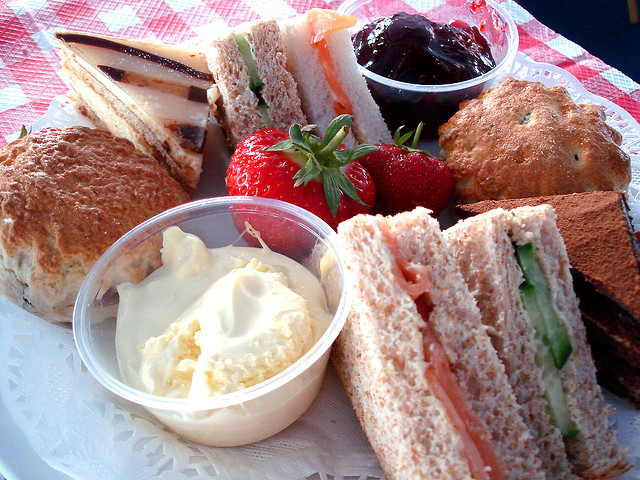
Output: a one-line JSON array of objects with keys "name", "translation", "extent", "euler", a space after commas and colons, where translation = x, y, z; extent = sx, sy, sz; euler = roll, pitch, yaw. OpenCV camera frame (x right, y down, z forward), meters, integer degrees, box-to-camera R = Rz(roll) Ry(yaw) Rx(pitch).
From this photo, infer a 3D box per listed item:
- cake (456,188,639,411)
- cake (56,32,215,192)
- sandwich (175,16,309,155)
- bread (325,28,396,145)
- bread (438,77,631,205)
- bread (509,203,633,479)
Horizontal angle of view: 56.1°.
[{"name": "cake", "translation": [0.974, 0.224, 2.330], "extent": [0.665, 0.243, 0.811], "euler": [-9, 76, -3]}, {"name": "cake", "translation": [-0.758, -0.662, 2.775], "extent": [0.905, 0.404, 0.429], "euler": [38, 62, 15]}, {"name": "sandwich", "translation": [-0.304, -0.685, 2.594], "extent": [0.474, 0.626, 0.183], "euler": [-25, 43, -21]}, {"name": "bread", "translation": [0.231, -0.581, 2.838], "extent": [0.225, 0.179, 0.830], "euler": [-16, 104, 6]}, {"name": "bread", "translation": [0.870, -0.388, 2.469], "extent": [0.605, 0.181, 0.606], "euler": [-1, 61, 11]}, {"name": "bread", "translation": [0.827, 0.384, 2.099], "extent": [0.441, 0.909, 0.415], "euler": [7, 29, 8]}]
